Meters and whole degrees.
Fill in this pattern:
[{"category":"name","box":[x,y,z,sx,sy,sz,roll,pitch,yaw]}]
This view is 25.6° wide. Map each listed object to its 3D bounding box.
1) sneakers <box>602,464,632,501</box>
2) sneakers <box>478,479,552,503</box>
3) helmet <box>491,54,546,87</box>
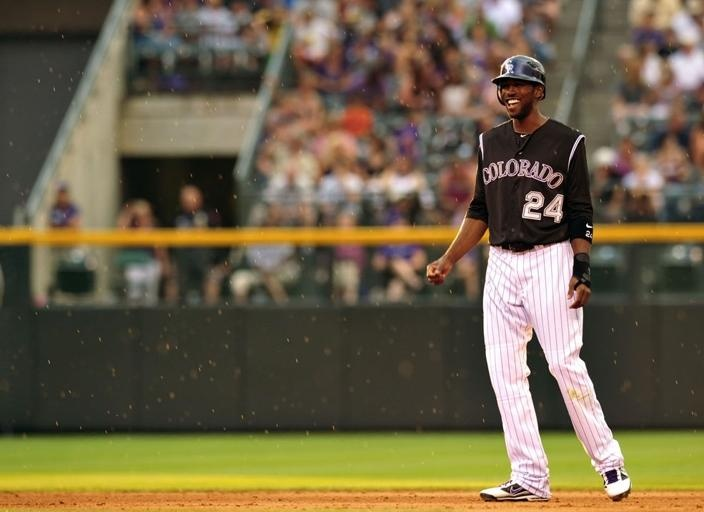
[{"category":"sneakers","box":[1.542,1.302,9.003,0.117,0.093,0.253,29,15,-9]},{"category":"sneakers","box":[0.966,1.351,9.067,0.391,0.155,0.181,3,85,1]},{"category":"helmet","box":[1.010,-1.068,9.061,0.233,0.190,0.120,9,83,-23]}]
